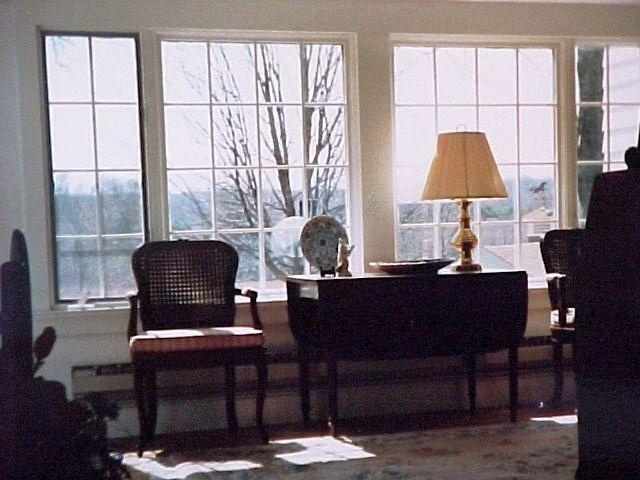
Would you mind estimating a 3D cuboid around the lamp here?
[{"bbox_3d":[0.618,-0.169,3.098,0.265,0.607,0.295,-9,7,-38],"label":"lamp"}]

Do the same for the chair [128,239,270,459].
[{"bbox_3d":[-0.547,0.415,2.994,0.574,0.872,0.534,0,-5,-26],"label":"chair"}]
